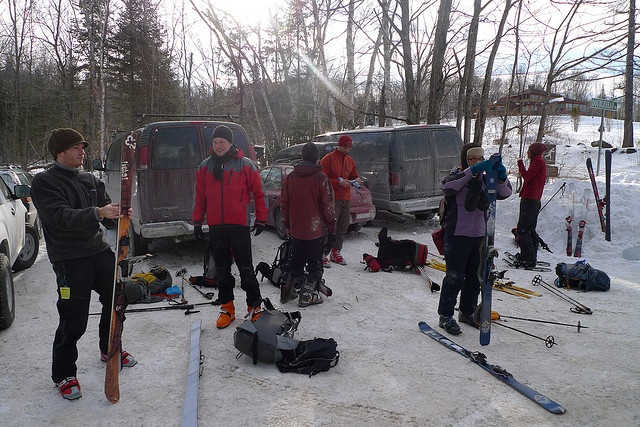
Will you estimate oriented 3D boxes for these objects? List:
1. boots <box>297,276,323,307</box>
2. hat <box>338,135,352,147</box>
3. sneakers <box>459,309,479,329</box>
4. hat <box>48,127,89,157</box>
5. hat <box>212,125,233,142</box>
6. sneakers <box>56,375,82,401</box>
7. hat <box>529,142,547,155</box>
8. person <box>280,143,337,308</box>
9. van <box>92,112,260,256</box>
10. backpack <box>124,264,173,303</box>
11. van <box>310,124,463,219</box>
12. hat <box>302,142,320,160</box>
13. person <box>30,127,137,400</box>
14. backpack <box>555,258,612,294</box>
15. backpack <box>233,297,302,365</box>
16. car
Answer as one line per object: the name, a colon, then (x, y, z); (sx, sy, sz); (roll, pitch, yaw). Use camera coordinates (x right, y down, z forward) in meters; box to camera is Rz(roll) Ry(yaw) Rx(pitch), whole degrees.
boots: (-0.146, 1.310, 8.008); (0.267, 0.491, 0.735); (2, -1, 33)
hat: (0.530, -1.430, 9.369); (0.256, 0.234, 0.194); (-2, 29, -13)
sneakers: (2.311, 1.654, 7.354); (0.128, 0.158, 0.381); (4, 5, -45)
hat: (-3.182, -0.959, 5.986); (0.436, 0.349, 0.339); (-15, 22, -27)
hat: (-1.423, -1.173, 7.084); (0.225, 0.225, 0.278); (5, 12, 26)
sneakers: (-3.070, 2.151, 5.810); (0.438, 0.171, 0.162); (14, 12, 43)
hat: (4.382, -1.279, 9.494); (0.305, 0.262, 0.226); (23, 29, 39)
person: (-0.205, 0.187, 7.856); (0.937, 2.624, 0.720); (-2, 11, 0)
van: (-3.525, -0.907, 10.781); (2.552, 2.316, 4.308); (-4, 11, -22)
backpack: (-2.907, 1.192, 8.037); (0.533, 0.285, 0.684); (5, 7, 25)
van: (1.832, -1.339, 12.904); (2.049, 1.505, 3.128); (-5, 12, -27)
hat: (-0.166, -1.047, 8.026); (0.245, 0.295, 0.310); (2, 16, 7)
person: (-2.989, 0.595, 5.947); (1.023, 3.263, 0.708); (-10, 14, -37)
backpack: (4.786, 1.168, 8.627); (0.580, 0.363, 0.748); (-9, 17, -42)
backpack: (-0.815, 1.643, 6.507); (0.568, 0.429, 0.604); (-2, -27, 21)
car: (-0.289, -0.398, 11.781); (1.612, 1.194, 2.723); (-9, 17, -38)
